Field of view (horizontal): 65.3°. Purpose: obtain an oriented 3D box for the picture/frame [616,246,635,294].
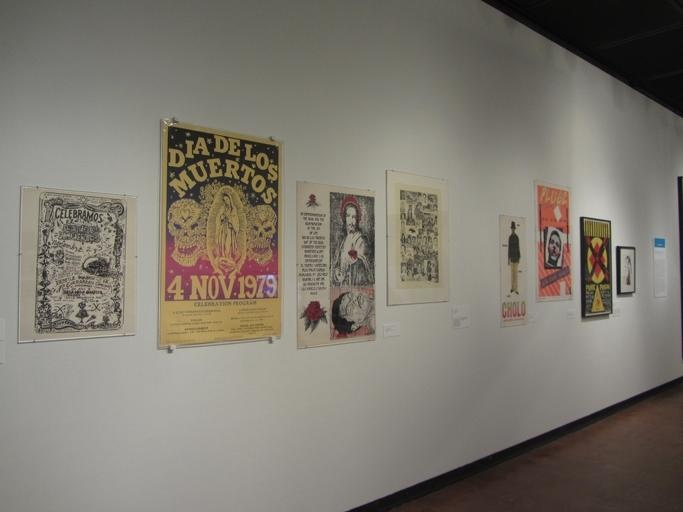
[{"bbox_3d":[3.587,0.184,6.739,0.511,0.668,0.078,2,-1,-44],"label":"picture/frame"}]
